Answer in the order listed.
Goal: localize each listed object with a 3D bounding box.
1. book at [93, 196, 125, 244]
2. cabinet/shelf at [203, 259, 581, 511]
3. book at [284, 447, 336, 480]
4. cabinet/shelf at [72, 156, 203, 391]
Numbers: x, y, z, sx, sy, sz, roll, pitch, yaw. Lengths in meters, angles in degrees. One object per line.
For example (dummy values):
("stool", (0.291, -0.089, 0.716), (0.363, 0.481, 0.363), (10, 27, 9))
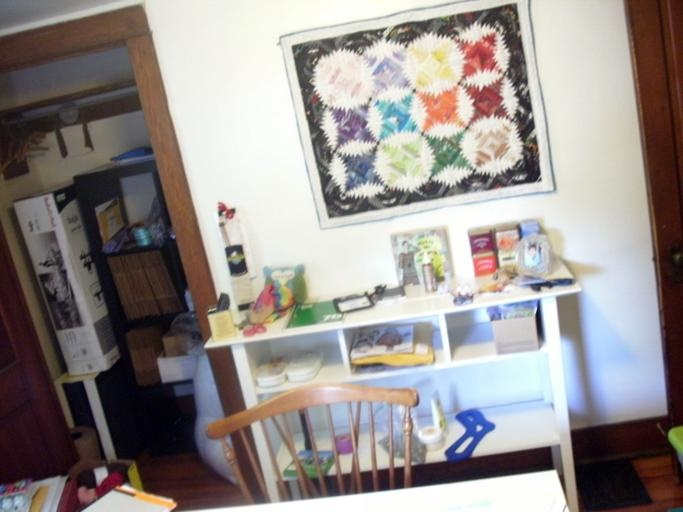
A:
("book", (-1.467, -0.222, 3.364), (0.026, 0.189, 0.260), (-5, 19, 16))
("cabinet/shelf", (0.262, 0.537, 2.449), (1.117, 0.381, 0.755), (-12, 55, -8))
("book", (-0.137, 0.989, 2.515), (0.250, 0.063, 0.259), (-1, 2, 6))
("cabinet/shelf", (-1.199, 0.101, 3.451), (0.583, 0.991, 0.404), (-9, 10, 15))
